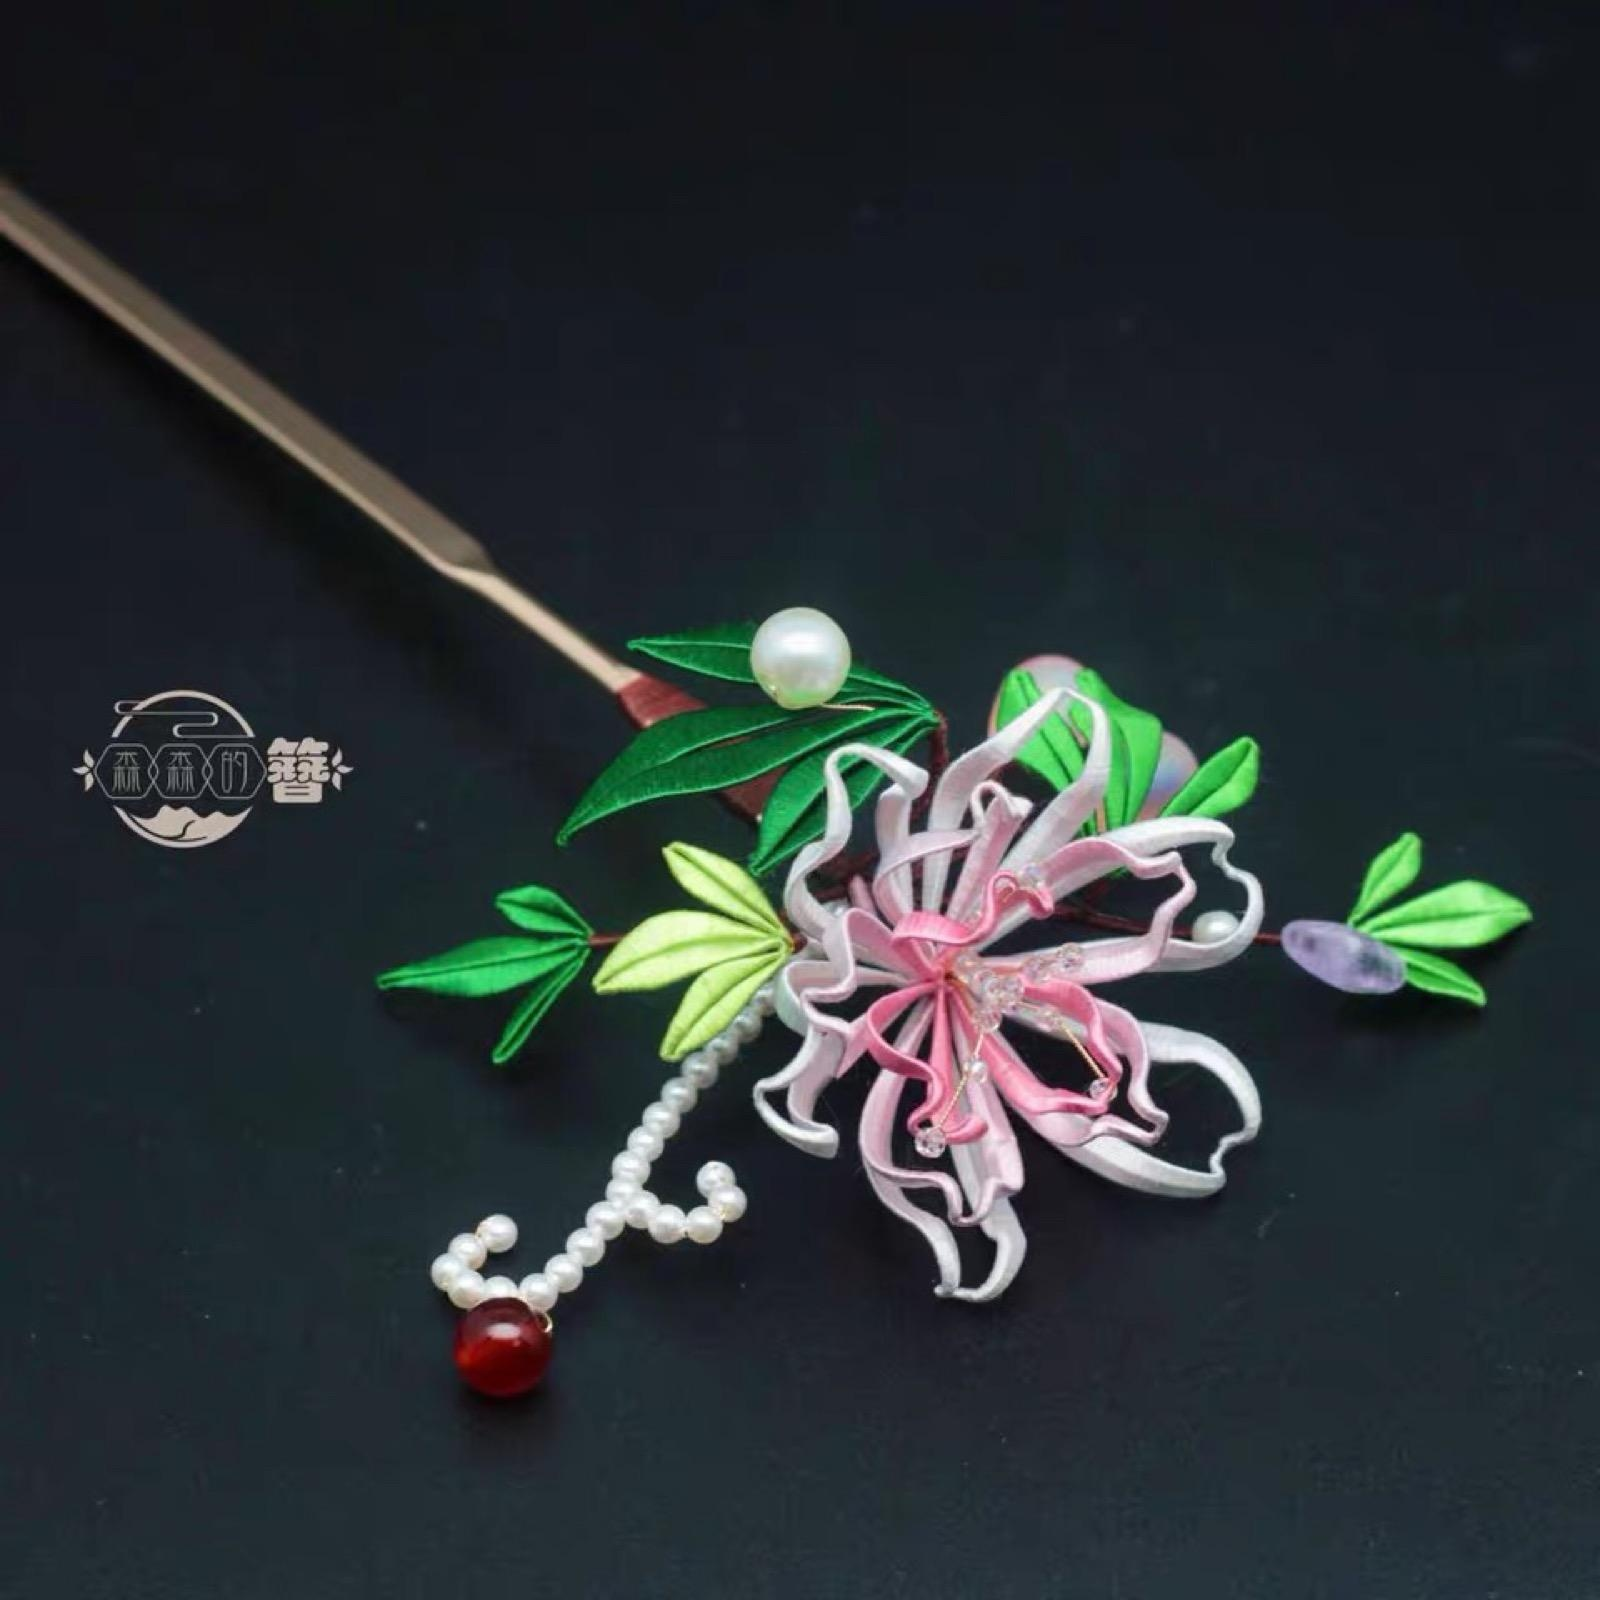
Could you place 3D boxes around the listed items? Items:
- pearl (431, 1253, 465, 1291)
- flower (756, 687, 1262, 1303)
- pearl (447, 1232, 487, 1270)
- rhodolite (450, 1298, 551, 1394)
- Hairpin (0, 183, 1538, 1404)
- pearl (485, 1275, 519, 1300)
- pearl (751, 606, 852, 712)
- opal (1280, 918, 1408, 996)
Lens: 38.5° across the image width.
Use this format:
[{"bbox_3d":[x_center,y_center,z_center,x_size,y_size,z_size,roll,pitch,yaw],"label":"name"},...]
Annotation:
[{"bbox_3d":[-0.159,0.215,1.033,0.014,0.018,0.014,2,101,-9],"label":"pearl"},{"bbox_3d":[0.100,0.087,1.043,0.254,0.181,0.236,-26,75,-1],"label":"flower"},{"bbox_3d":[-0.149,0.207,1.038,0.014,0.008,0.017,-8,62,-29],"label":"pearl"},{"bbox_3d":[-0.133,0.242,1.017,0.046,0.029,0.051,-5,58,-18],"label":"rhodolite"},{"bbox_3d":[-0.049,-0.087,1.072,0.392,0.077,0.688,-30,67,-36],"label":"Hairpin"},{"bbox_3d":[-0.133,0.223,1.033,0.016,0.025,0.011,6,76,8],"label":"pearl"},{"bbox_3d":[0.001,-0.060,1.022,0.042,0.043,0.047,0,104,8],"label":"pearl"},{"bbox_3d":[0.253,0.075,1.071,0.032,0.019,0.049,-40,53,-23],"label":"opal"}]
